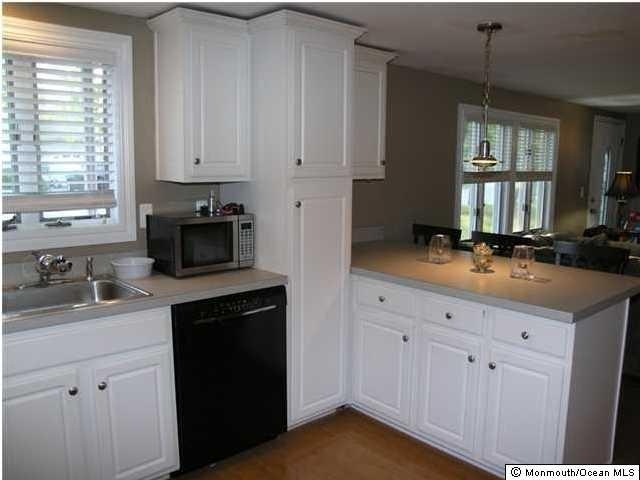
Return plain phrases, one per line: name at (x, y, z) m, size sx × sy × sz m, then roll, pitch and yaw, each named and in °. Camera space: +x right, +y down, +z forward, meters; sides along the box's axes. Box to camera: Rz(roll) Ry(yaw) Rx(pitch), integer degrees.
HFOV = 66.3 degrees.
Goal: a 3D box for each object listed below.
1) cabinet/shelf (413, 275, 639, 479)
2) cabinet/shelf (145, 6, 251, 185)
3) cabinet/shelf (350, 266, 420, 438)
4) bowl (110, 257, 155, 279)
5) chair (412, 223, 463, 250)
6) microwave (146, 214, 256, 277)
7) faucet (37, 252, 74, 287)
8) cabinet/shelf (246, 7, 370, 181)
cabinet/shelf at (1.224, 0.791, 3.426) m, size 1.141 × 1.495 × 0.870 m, roll -1°, pitch 5°, yaw -32°
cabinet/shelf at (-0.761, -0.898, 3.132) m, size 0.647 × 1.026 × 0.394 m, roll -2°, pitch 14°, yaw -10°
cabinet/shelf at (0.417, 0.730, 3.314) m, size 0.151 × 0.914 × 0.574 m, roll -9°, pitch 16°, yaw -33°
bowl at (-1.195, 0.176, 3.123) m, size 0.257 × 0.097 × 0.237 m, roll 0°, pitch 12°, yaw 0°
chair at (1.120, -0.071, 4.740) m, size 0.318 × 0.470 × 0.347 m, roll 4°, pitch 4°, yaw 32°
microwave at (-0.785, -0.107, 3.195) m, size 0.644 × 0.382 × 0.438 m, roll -6°, pitch 10°, yaw -38°
faucet at (-1.550, 0.166, 2.854) m, size 0.160 × 0.114 × 0.224 m, roll -5°, pitch 3°, yaw -42°
cabinet/shelf at (-0.083, -0.912, 3.167) m, size 0.723 × 1.015 × 0.373 m, roll -1°, pitch 13°, yaw -5°
